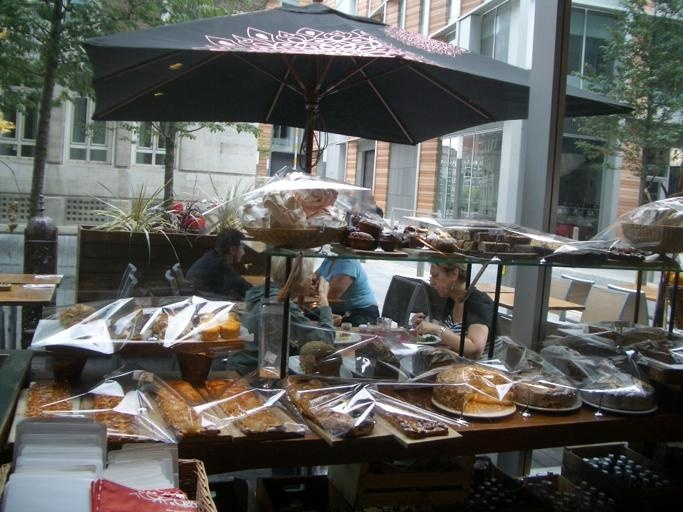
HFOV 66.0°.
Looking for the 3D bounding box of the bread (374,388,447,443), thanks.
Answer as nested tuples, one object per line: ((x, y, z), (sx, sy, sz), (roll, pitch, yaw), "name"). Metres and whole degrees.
((0.217, 0.529, 1.742), (0.114, 0.023, 0.176), (-3, 16, -30), "bread")

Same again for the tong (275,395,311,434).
((-0.161, 0.527, 1.729), (0.028, 0.102, 0.091), (-44, -3, 19), "tong")

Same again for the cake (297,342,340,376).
((-0.084, 0.375, 1.893), (0.140, 0.110, 0.128), (1, 1, -12), "cake")

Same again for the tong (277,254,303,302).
((-0.168, 0.064, 1.771), (0.051, 0.179, 0.039), (23, -24, -3), "tong")

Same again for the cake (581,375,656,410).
((1.057, 0.554, 2.051), (0.260, 0.073, 0.250), (10, -13, -33), "cake")

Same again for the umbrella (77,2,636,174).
((-0.204, -1.003, 3.178), (2.443, 0.950, 1.971), (0, 6, -24), "umbrella")

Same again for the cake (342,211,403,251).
((0.101, -0.085, 1.872), (0.182, 0.068, 0.225), (1, 5, -5), "cake")

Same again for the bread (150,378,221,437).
((-0.522, 0.488, 1.692), (0.113, 0.113, 0.289), (-2, 7, -43), "bread")

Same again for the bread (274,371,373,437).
((-0.035, 0.498, 1.822), (0.225, 0.075, 0.358), (-15, 20, -24), "bread")

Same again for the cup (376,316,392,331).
((0.196, 0.314, 2.418), (0.046, 0.056, 0.064), (1, 4, 2), "cup")

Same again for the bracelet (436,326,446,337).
((0.438, 0.334, 2.305), (0.030, 0.038, 0.043), (5, 0, 22), "bracelet")

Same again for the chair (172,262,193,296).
((-1.137, 0.163, 3.724), (0.160, 0.210, 0.141), (1, 12, 31), "chair")

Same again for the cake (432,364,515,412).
((0.502, 0.472, 1.962), (0.325, 0.097, 0.325), (1, 15, 8), "cake")

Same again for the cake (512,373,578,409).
((0.773, 0.504, 1.974), (0.223, 0.054, 0.217), (2, 8, 30), "cake")

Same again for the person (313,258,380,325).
((0.032, 0.255, 4.040), (0.515, 0.664, 0.586), (0, -2, -10), "person")

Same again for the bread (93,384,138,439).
((-0.718, 0.502, 1.647), (0.102, 0.095, 0.170), (-1, 7, -34), "bread")

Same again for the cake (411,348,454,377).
((0.348, 0.407, 2.007), (0.118, 0.062, 0.108), (-1, -8, -6), "cake")
